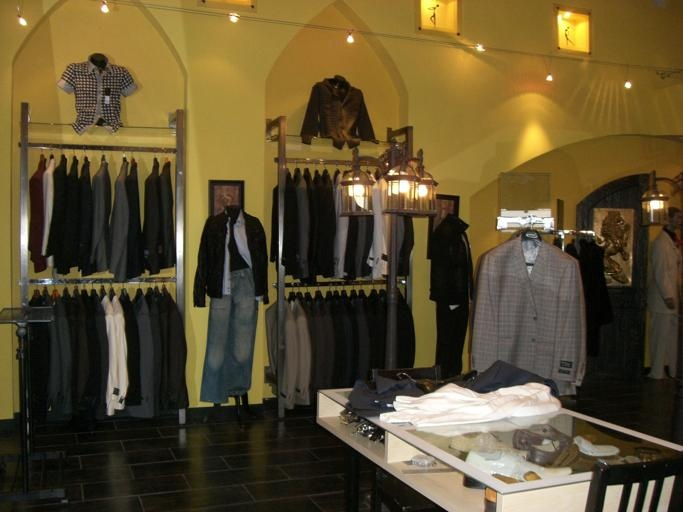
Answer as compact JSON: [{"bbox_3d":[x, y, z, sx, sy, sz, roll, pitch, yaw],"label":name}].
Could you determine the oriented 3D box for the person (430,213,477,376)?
[{"bbox_3d":[1.106,0.407,6.361,0.389,1.603,0.398,1,5,7],"label":"person"}]

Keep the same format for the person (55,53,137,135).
[{"bbox_3d":[-2.273,-1.505,5.852,0.687,0.737,0.176,-2,6,-25],"label":"person"}]

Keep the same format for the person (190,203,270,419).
[{"bbox_3d":[-1.005,0.465,5.722,0.648,1.805,0.228,0,5,-9],"label":"person"}]

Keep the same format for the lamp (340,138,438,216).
[{"bbox_3d":[0.315,-0.537,4.607,0.558,0.444,0.588,-2,8,-13],"label":"lamp"}]

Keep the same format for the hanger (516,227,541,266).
[{"bbox_3d":[1.383,-0.051,4.573,0.162,0.275,0.184,4,6,29],"label":"hanger"}]
